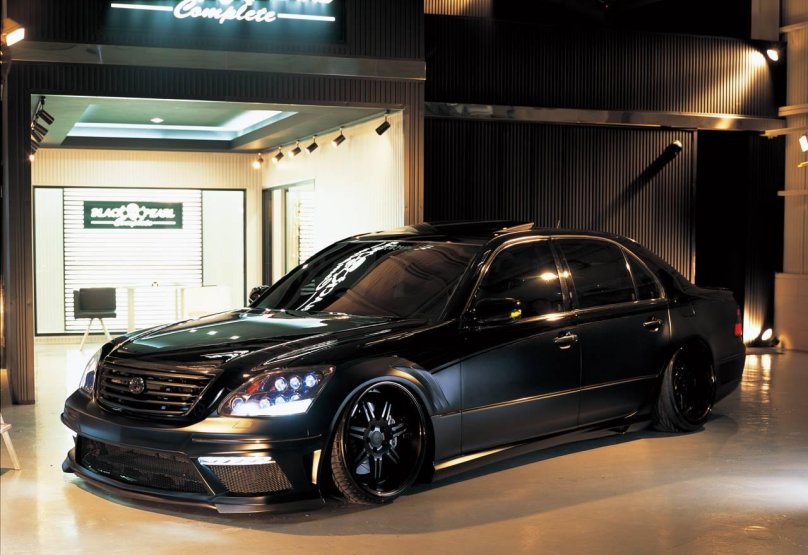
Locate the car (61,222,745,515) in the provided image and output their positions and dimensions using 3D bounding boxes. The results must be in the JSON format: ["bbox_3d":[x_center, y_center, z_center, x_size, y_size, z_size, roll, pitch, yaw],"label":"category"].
[{"bbox_3d":[0.161,0.515,5.031,4.806,1.937,1.590,-2,3,-30],"label":"car"}]

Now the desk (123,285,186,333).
[{"bbox_3d":[-5.179,0.592,13.185,1.100,0.783,0.457,-4,2,-25],"label":"desk"}]

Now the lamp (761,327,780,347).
[{"bbox_3d":[6.437,1.034,11.103,0.280,0.293,0.078,-1,-21,-1],"label":"lamp"}]

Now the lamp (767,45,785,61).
[{"bbox_3d":[6.375,-3.812,10.832,0.362,0.274,0.089,-1,3,-27],"label":"lamp"}]
